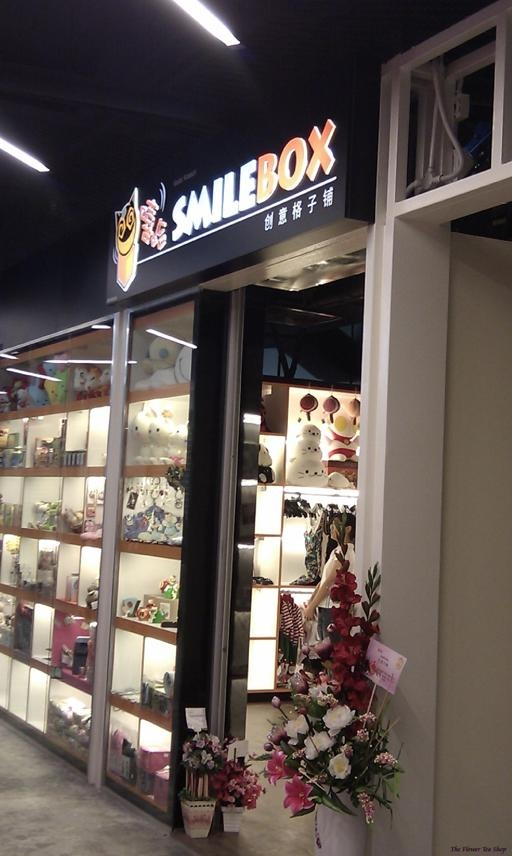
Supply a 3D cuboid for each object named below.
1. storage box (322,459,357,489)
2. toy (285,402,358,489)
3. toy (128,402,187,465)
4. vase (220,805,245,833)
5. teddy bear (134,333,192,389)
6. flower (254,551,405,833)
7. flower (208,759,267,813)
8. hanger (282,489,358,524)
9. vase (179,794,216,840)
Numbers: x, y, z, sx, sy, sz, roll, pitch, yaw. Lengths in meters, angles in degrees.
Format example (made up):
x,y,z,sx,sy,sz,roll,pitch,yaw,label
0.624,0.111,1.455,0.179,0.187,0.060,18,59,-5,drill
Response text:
x,y,z,sx,sy,sz,roll,pitch,yaw,label
0.727,0.393,5.403,0.220,0.207,0.243,1,-4,-17,storage box
0.557,0.168,5.361,0.562,0.789,0.277,4,4,-7,toy
-0.485,0.030,3.188,0.089,0.274,0.273,4,-7,-29,toy
-0.103,1.675,2.702,0.085,0.135,0.107,2,-15,0,vase
-0.465,-0.322,3.197,0.177,0.228,0.318,0,-17,-31,teddy bear
0.202,0.674,1.662,0.416,0.667,0.355,-5,-13,28,flower
-0.084,1.499,2.744,0.213,0.272,0.253,2,-9,0,flower
0.501,0.644,5.250,0.558,0.248,0.011,1,2,-11,hanger
-0.236,1.579,2.628,0.148,0.201,0.144,3,-10,-13,vase
